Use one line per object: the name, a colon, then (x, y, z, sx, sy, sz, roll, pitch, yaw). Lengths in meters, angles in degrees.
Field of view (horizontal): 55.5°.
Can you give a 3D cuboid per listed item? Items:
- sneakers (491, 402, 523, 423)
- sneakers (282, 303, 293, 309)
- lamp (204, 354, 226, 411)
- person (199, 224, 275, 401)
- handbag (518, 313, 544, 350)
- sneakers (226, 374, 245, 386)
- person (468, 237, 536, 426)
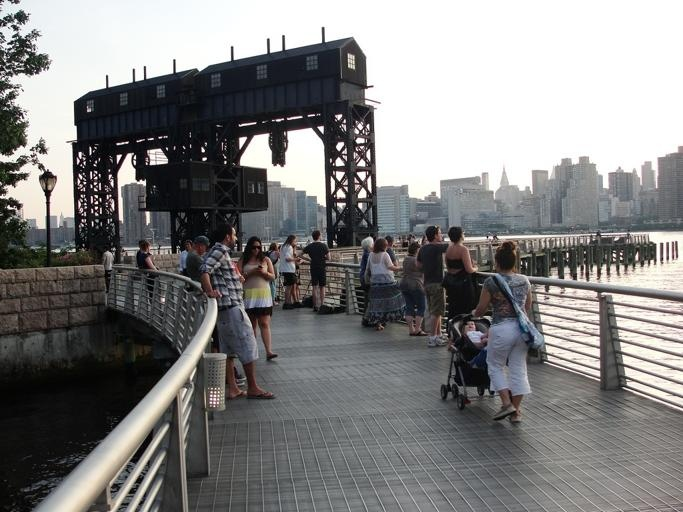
sneakers: (2.031, 1.910, 7.888, 0.432, 0.241, 0.165, -10, -6, 25)
sneakers: (-1.691, 1.620, 21.127, 0.246, 0.130, 0.150, -2, 5, 16)
lamp: (-1.480, 1.502, 7.770, 0.263, 0.685, 0.225, 0, 7, -13)
person: (-1.463, 0.819, 9.064, 0.822, 2.515, 1.302, -2, 3, -8)
handbag: (2.263, 0.901, 7.806, 0.277, 0.465, 0.236, -1, 3, 15)
sneakers: (-1.574, 1.934, 10.202, 0.378, 0.200, 0.152, 1, 3, 8)
person: (2.027, 0.969, 8.094, 0.621, 2.203, 0.743, 7, -16, -15)
